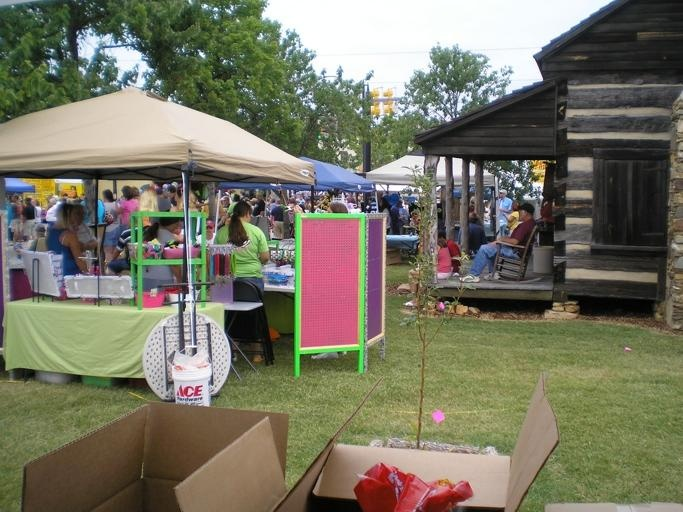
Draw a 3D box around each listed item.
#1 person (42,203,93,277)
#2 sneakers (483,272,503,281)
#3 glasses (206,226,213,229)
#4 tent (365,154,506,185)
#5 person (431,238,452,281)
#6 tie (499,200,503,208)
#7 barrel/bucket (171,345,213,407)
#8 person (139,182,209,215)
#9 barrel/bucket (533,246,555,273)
[{"bbox_3d":[-3.347,-0.215,7.366,0.466,0.906,0.465,6,29,4],"label":"person"},{"bbox_3d":[3.005,0.409,11.874,0.377,0.190,0.145,3,8,32],"label":"sneakers"},{"bbox_3d":[-2.687,-0.566,12.039,0.146,0.063,0.158,-2,6,-35],"label":"glasses"},{"bbox_3d":[2.783,-2.859,21.293,3.821,1.383,3.847,2,6,24],"label":"tent"},{"bbox_3d":[1.989,0.037,11.511,0.303,0.728,0.823,1,6,9],"label":"person"},{"bbox_3d":[5.922,-1.903,22.068,0.200,0.301,0.095,-1,-3,-12],"label":"tie"},{"bbox_3d":[-1.324,1.095,5.237,0.316,0.408,0.341,0,6,0],"label":"barrel/bucket"},{"bbox_3d":[-3.339,-1.123,11.743,1.406,0.345,1.268,-1,3,-29],"label":"person"},{"bbox_3d":[4.406,0.104,12.983,0.492,0.584,0.522,1,-3,0],"label":"barrel/bucket"}]
